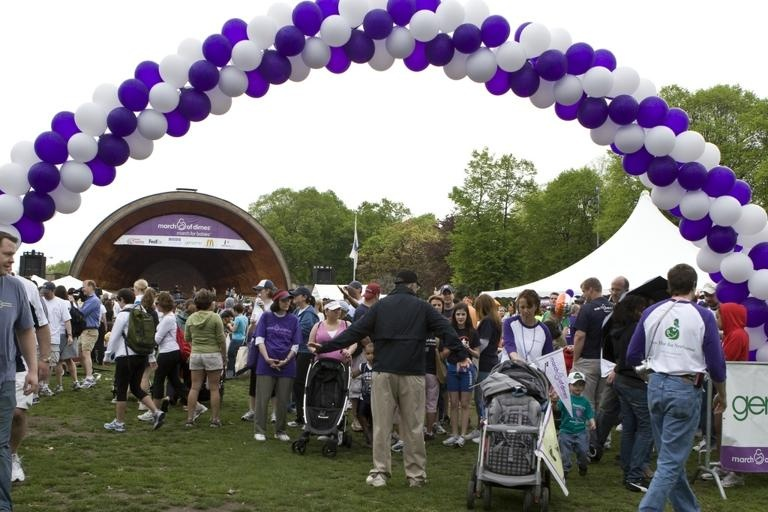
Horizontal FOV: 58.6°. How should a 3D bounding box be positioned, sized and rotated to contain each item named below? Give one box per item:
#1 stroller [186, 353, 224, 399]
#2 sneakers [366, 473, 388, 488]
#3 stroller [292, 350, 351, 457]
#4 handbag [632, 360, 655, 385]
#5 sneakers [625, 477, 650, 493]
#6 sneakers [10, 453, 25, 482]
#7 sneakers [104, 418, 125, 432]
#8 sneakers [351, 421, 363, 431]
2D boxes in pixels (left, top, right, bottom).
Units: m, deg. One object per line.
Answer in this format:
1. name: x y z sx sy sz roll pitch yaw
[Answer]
1. stroller: -3.316 2.301 12.776 0.640 1.252 0.429 2 -1 7
2. sneakers: -0.090 3.249 9.976 0.287 0.172 0.181 2 2 2
3. stroller: -1.006 2.475 11.574 0.944 1.627 1.320 0 -8 19
4. handbag: 3.374 1.468 8.867 0.159 0.284 0.343 2 2 12
5. sneakers: 3.710 3.323 9.978 0.432 0.236 0.163 1 5 -4
6. sneakers: -5.173 2.989 9.646 0.193 0.276 0.565 5 -2 -41
7. sneakers: -4.855 3.033 12.305 0.421 0.237 0.182 6 -14 1
8. sneakers: -0.500 3.275 13.177 0.133 0.169 0.384 1 -19 -4
